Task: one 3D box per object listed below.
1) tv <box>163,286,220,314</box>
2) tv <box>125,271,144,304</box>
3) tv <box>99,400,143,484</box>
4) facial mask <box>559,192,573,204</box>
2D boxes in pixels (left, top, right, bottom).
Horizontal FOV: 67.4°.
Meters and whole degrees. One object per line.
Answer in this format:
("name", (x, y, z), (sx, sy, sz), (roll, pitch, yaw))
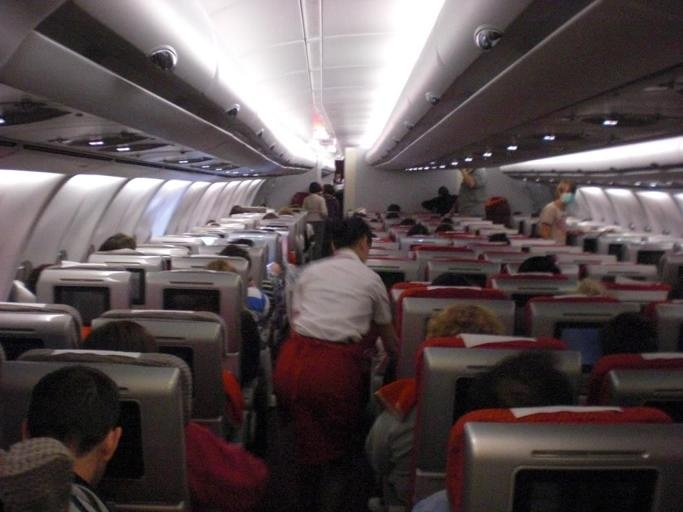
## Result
("tv", (-1.124, 0.326, 3.909), (0.396, 0.205, 0.266), (4, 3, 7))
("tv", (-1.881, 0.268, 4.646), (0.037, 0.357, 0.205), (-5, -6, 23))
("tv", (-0.922, 0.774, 2.154), (0.273, 0.369, 0.082), (-8, 5, 36))
("facial mask", (3.351, -0.867, 7.666), (0.138, 0.097, 0.171), (0, 6, 3))
